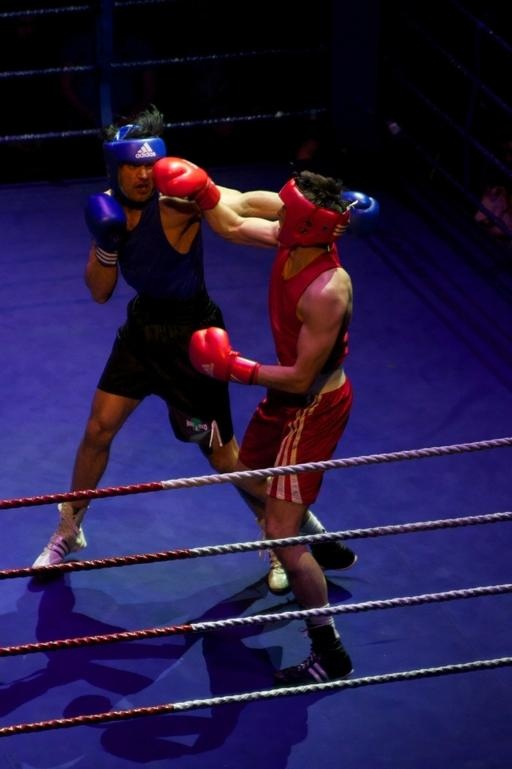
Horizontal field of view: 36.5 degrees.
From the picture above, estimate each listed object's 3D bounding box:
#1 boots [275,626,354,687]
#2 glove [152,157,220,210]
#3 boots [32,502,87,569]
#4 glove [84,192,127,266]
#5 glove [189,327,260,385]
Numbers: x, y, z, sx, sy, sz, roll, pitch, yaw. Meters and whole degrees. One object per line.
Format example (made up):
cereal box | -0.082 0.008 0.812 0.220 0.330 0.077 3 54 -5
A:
boots | 0.100 0.664 1.909 0.281 0.154 0.094 -2 0 2
glove | -0.156 -0.469 1.830 0.144 0.067 0.167 11 12 -31
boots | -0.582 0.445 2.286 0.090 0.177 0.229 15 20 21
glove | -0.391 -0.390 1.972 0.113 0.167 0.079 -16 -4 42
glove | -0.082 -0.063 1.858 0.187 0.080 0.102 15 55 22
